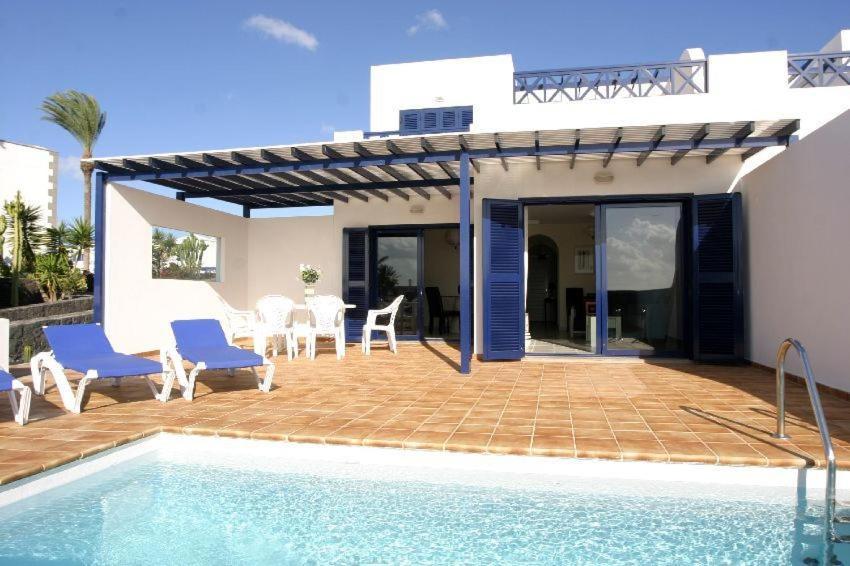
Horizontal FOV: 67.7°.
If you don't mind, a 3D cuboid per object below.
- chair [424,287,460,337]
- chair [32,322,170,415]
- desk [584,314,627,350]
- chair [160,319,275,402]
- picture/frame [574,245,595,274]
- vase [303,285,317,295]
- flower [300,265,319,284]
[{"bbox_3d":[0.598,0.644,14.959,0.789,1.015,0.624,-1,5,-3],"label":"chair"},{"bbox_3d":[-4.077,1.013,7.839,1.763,0.776,1.000,3,2,39],"label":"chair"},{"bbox_3d":[3.178,0.824,10.905,0.773,0.705,0.539,-1,-4,6],"label":"desk"},{"bbox_3d":[-2.914,0.971,8.626,1.128,0.785,1.960,-4,7,-39],"label":"chair"},{"bbox_3d":[4.338,-0.652,17.207,0.483,0.742,0.236,-2,0,-11],"label":"picture/frame"},{"bbox_3d":[-2.231,0.131,12.187,0.279,0.274,0.268,1,-3,0],"label":"vase"},{"bbox_3d":[-2.292,-0.178,12.550,0.435,0.344,0.448,1,-4,-3],"label":"flower"}]
